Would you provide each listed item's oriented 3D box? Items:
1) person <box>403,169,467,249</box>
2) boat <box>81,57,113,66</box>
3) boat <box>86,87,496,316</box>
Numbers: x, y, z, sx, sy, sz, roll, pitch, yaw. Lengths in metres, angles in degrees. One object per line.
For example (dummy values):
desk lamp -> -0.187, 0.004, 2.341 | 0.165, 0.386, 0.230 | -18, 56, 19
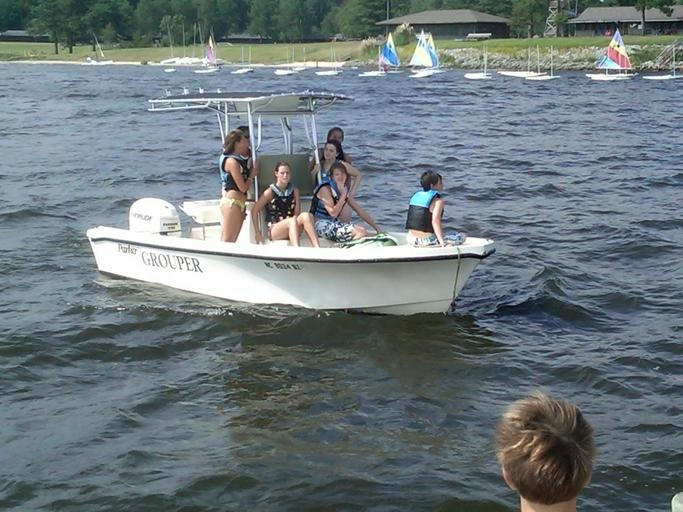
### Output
person -> 1.507, -0.772, 18.153 | 1.059, 1.110, 1.066 | -4, 15, -23
boat -> -23.723, -19.475, 114.735 | 3.683, 1.032, 2.468 | -3, 10, -14
boat -> -0.905, -0.787, 18.933 | 7.251, 2.643, 2.421 | 7, 22, 29
